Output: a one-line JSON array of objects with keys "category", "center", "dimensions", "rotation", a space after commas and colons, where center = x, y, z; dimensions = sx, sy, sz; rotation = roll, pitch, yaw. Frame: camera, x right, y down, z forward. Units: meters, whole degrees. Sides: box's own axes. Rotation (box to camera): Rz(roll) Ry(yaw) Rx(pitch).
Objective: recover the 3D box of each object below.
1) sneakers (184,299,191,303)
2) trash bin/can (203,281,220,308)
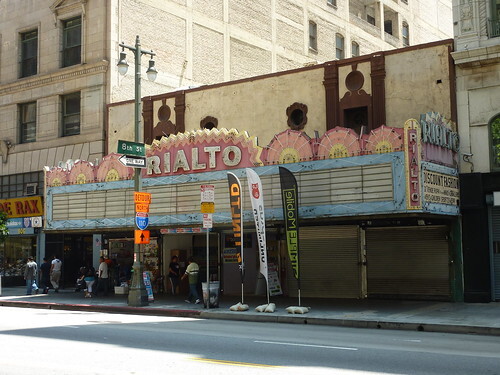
[{"category": "sneakers", "center": [-2.818, 5.136, 28.595], "dimensions": [0.133, 0.183, 0.406], "rotation": [6, -2, -22]}, {"category": "trash bin/can", "center": [-1.624, 4.477, 26.421], "dimensions": [0.641, 1.089, 0.514], "rotation": [4, -11, -44]}]
